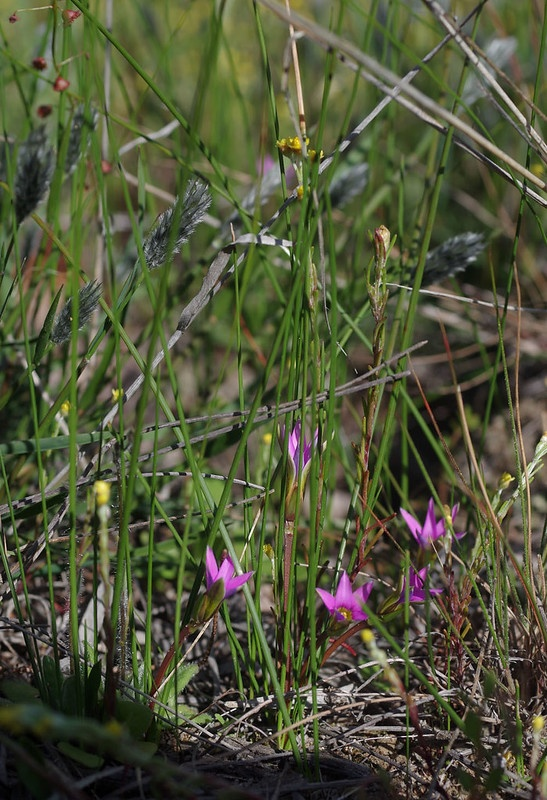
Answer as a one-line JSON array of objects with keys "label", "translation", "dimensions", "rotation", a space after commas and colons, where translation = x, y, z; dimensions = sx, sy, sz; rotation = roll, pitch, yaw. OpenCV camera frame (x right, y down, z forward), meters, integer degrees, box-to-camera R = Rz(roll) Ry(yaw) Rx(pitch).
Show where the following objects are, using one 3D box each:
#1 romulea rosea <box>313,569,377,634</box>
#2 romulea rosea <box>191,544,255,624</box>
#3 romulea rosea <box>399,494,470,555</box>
[{"label": "romulea rosea", "translation": [0.080, 0.238, 0.880], "dimensions": [0.070, 0.043, 0.069], "rotation": [-24, 41, -38]}, {"label": "romulea rosea", "translation": [-0.058, 0.205, 0.889], "dimensions": [0.069, 0.127, 0.084], "rotation": [3, 29, -1]}, {"label": "romulea rosea", "translation": [0.215, 0.171, 1.023], "dimensions": [0.066, 0.053, 0.069], "rotation": [5, -11, 34]}]
